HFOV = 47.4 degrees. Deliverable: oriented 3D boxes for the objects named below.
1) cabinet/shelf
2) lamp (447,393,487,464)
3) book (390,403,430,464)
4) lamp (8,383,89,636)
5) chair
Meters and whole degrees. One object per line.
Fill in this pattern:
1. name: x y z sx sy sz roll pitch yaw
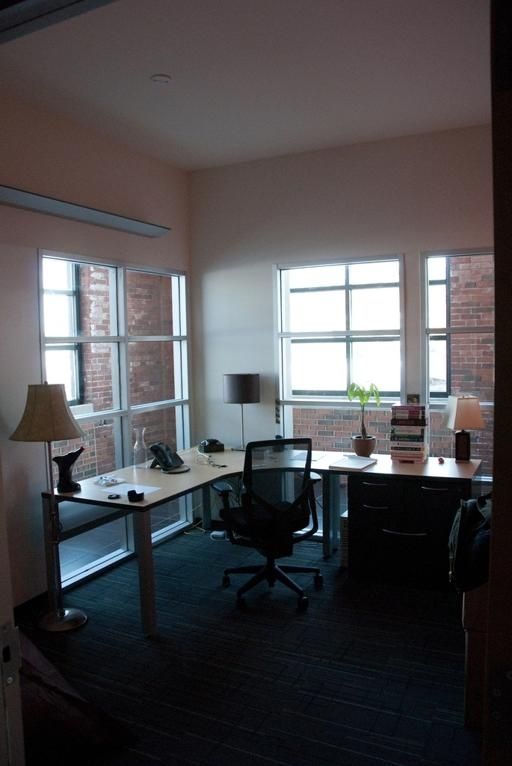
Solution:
1. cabinet/shelf: 1.025 0.880 4.129 1.079 1.083 0.653 -2 -6 26
2. lamp: 1.391 0.310 3.947 0.261 0.433 0.278 -4 8 -42
3. book: 1.074 0.348 4.095 0.341 0.512 0.354 0 1 15
4. lamp: -1.226 0.707 3.445 0.382 1.437 0.391 -3 4 -24
5. chair: 0.100 0.824 3.832 0.674 1.120 0.637 -6 11 -31
